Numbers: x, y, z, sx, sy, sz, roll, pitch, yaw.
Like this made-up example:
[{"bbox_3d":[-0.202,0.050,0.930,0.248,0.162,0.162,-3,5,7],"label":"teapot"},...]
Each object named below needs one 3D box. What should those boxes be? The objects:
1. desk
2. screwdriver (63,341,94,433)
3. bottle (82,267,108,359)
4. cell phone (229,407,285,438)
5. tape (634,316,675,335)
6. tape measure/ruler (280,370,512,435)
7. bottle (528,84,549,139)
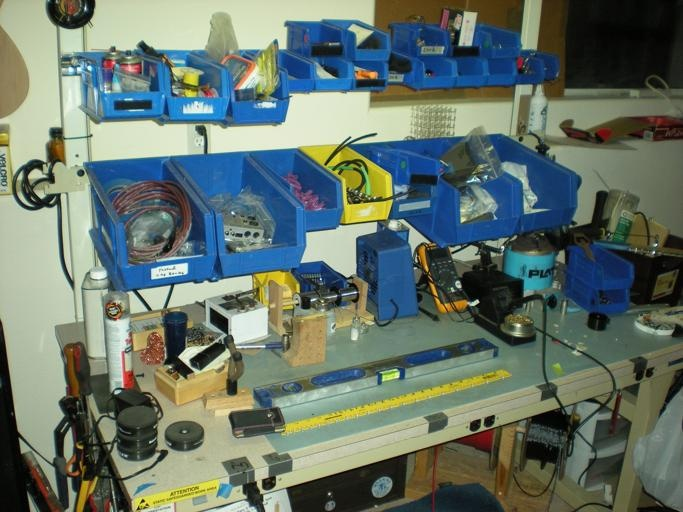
[{"bbox_3d":[0.137,0.581,2.441,1.926,0.740,0.885,-8,23,-26],"label":"desk"},{"bbox_3d":[-0.921,0.448,2.093,0.093,0.271,0.120,-7,23,-19],"label":"screwdriver"},{"bbox_3d":[-0.939,0.217,2.306,0.103,0.346,0.126,-6,23,-19],"label":"bottle"},{"bbox_3d":[-0.282,0.559,2.007,0.159,0.046,0.083,-2,30,-14],"label":"cell phone"},{"bbox_3d":[1.386,0.311,2.632,0.098,0.020,0.093,-12,28,-29],"label":"tape"},{"bbox_3d":[0.227,0.520,2.160,0.927,0.031,0.057,-10,18,-20],"label":"tape measure/ruler"},{"bbox_3d":[1.102,-0.815,3.318,0.086,0.286,0.101,6,21,30],"label":"bottle"}]
